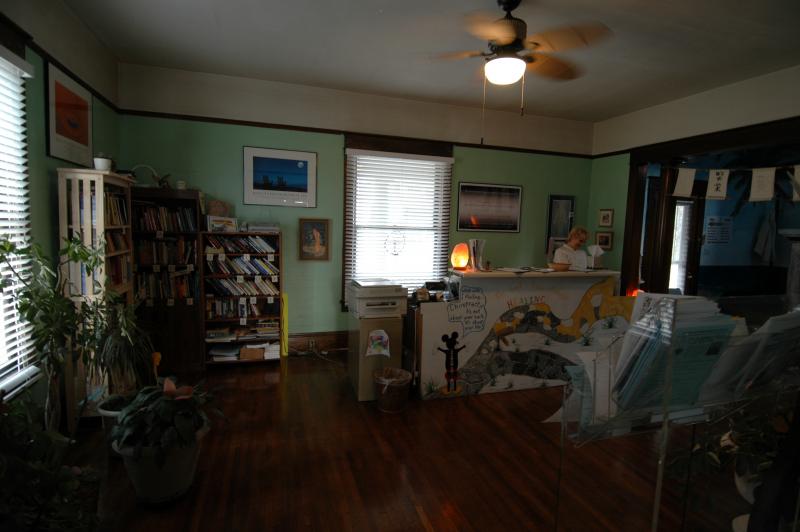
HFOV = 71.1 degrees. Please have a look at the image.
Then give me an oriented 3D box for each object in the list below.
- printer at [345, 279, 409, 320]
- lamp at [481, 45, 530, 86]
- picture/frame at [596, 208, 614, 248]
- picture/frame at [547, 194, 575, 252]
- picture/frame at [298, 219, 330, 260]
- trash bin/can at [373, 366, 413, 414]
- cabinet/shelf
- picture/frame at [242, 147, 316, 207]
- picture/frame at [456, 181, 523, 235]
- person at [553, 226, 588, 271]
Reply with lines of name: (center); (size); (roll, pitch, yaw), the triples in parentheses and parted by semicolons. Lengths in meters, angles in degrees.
printer: (-0.260, 0.330, 6.097); (0.535, 0.364, 0.690); (-2, 10, -14)
lamp: (0.972, -1.902, 5.296); (0.337, 0.302, 0.270); (0, 4, -4)
picture/frame: (2.832, -0.523, 7.755); (0.050, 0.562, 0.293); (-2, 4, -30)
picture/frame: (2.246, -0.642, 7.937); (0.012, 0.636, 0.311); (7, 5, -23)
picture/frame: (-1.092, -0.340, 6.930); (0.494, 0.656, 0.050); (1, 2, -23)
trash bin/can: (-0.071, 1.269, 5.712); (0.362, 0.322, 0.400); (2, 1, 2)
cabinet/shelf: (-2.399, 0.410, 5.680); (2.599, 2.532, 0.835); (-1, 1, -21)
picture/frame: (-1.459, -1.060, 6.799); (0.924, 0.700, 0.016); (-1, 7, -27)
picture/frame: (1.160, -0.799, 7.577); (0.732, 0.534, 0.026); (-1, 6, -17)
person: (2.046, -0.216, 6.685); (0.395, 0.490, 0.712); (1, 4, 19)
